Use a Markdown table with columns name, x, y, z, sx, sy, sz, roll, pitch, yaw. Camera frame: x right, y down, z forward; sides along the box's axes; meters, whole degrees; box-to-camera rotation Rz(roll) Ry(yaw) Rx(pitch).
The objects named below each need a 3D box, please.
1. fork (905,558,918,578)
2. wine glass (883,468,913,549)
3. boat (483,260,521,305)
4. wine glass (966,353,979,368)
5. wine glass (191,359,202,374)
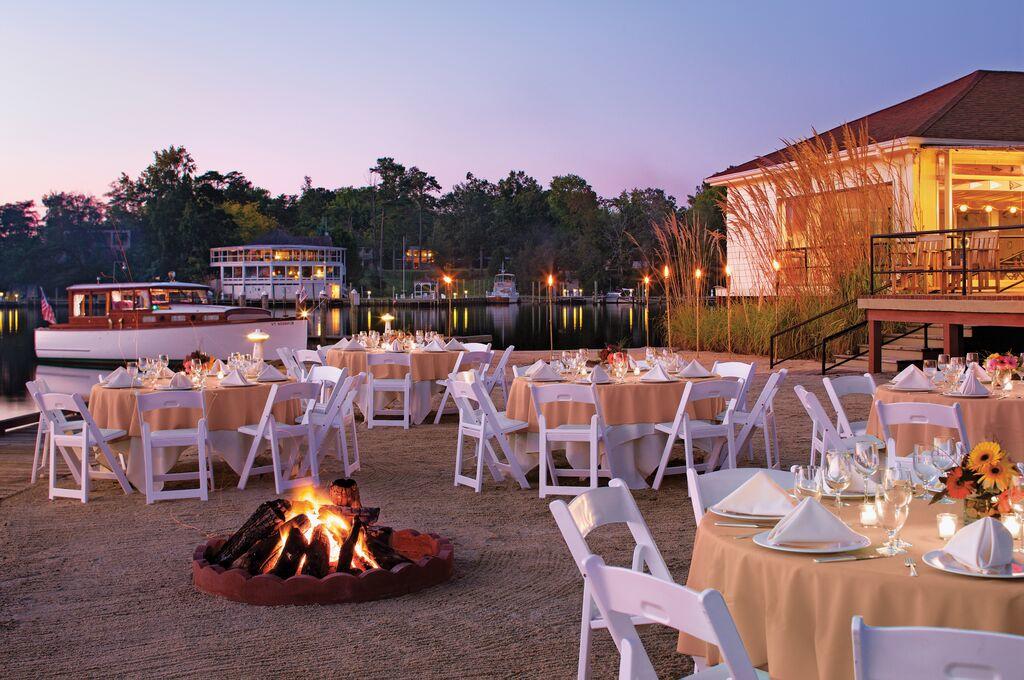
| name | x | y | z | sx | sy | sz | roll | pitch | yaw |
| --- | --- | --- | --- | --- | --- | --- | --- | --- | --- |
| fork | 1.711 | 0.976 | 3.371 | 0.032 | 0.018 | 0.066 | -15 | 34 | 18 |
| wine glass | 1.774 | 0.772 | 3.643 | 0.108 | 0.361 | 0.374 | 2 | 6 | 26 |
| boat | -1.023 | -8.088 | 111.538 | 3.603 | 5.781 | 7.017 | 0 | 5 | 1 |
| wine glass | 5.620 | 0.244 | 9.637 | 0.133 | 0.145 | 0.141 | 0 | -1 | -4 |
| wine glass | -3.750 | 0.315 | 9.385 | 0.136 | 0.242 | 0.141 | -2 | 2 | -20 |
